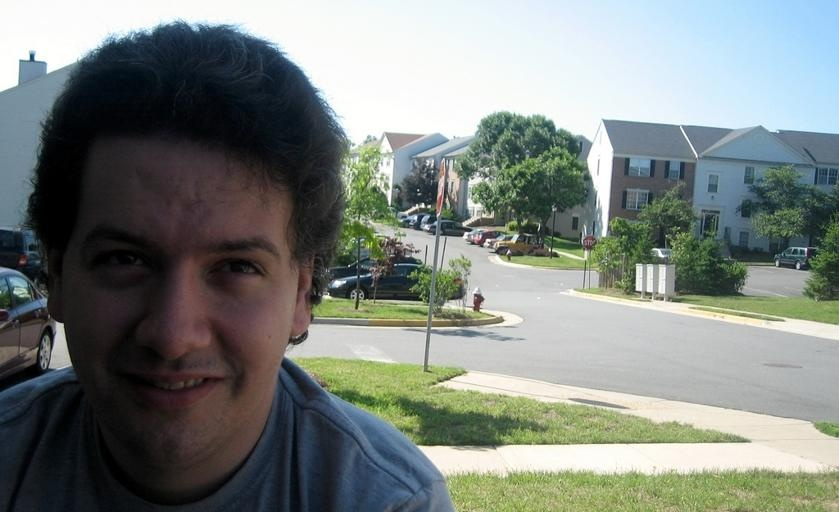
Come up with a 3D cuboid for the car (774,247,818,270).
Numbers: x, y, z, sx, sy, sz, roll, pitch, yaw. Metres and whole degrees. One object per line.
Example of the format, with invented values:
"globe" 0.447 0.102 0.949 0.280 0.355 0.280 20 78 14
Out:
"car" 23.055 0.135 45.146 1.215 0.982 2.401 -1 8 -18
